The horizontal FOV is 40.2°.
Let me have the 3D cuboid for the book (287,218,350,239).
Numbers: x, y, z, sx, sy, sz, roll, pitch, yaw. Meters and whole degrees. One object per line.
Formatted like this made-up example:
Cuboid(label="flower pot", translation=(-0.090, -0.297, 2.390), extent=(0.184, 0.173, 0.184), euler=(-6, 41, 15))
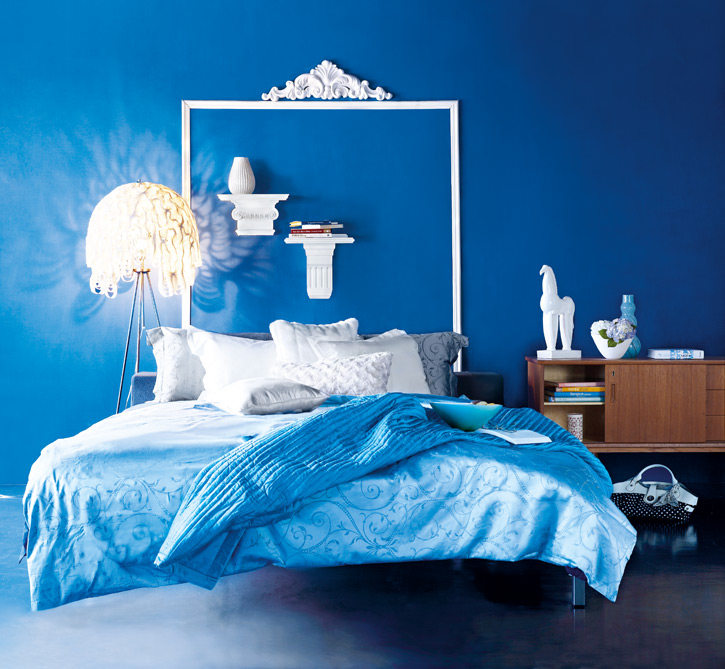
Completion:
Cuboid(label="book", translation=(-0.285, -0.629, 6.157), extent=(0.348, 0.087, 0.144), euler=(0, 11, 1))
